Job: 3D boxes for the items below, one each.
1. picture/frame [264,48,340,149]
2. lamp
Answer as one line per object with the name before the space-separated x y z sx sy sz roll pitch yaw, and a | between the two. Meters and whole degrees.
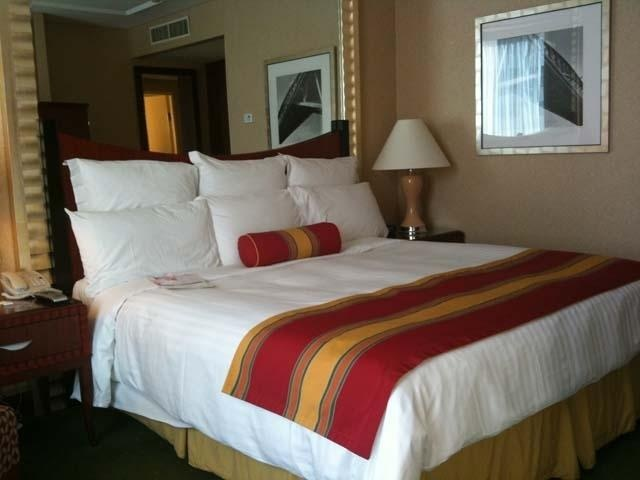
picture/frame | -0.176 -1.182 4.258 0.613 0.798 0.050 -31 31 -35
lamp | 0.837 -0.646 5.054 0.807 1.424 0.895 -2 10 9
